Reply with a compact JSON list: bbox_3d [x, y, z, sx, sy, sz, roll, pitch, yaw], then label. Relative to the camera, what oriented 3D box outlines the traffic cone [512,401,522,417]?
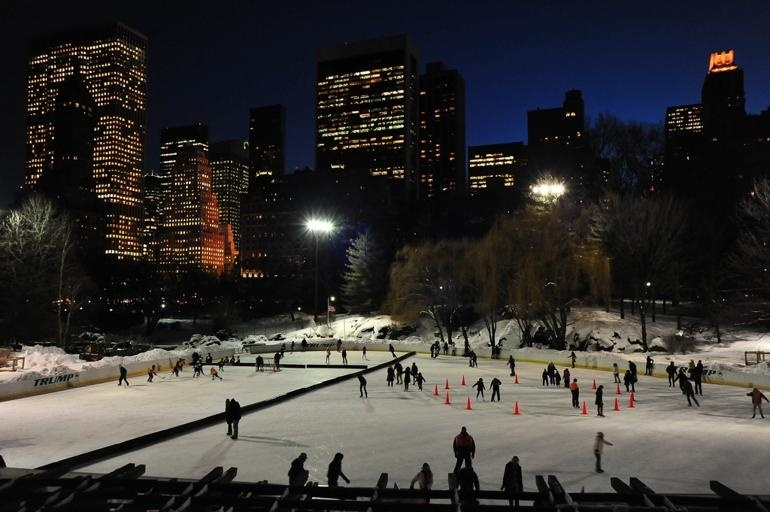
[{"bbox_3d":[8.479,9.812,44.941,0.683,0.893,0.673,-2,-3,3],"label":"traffic cone"}]
